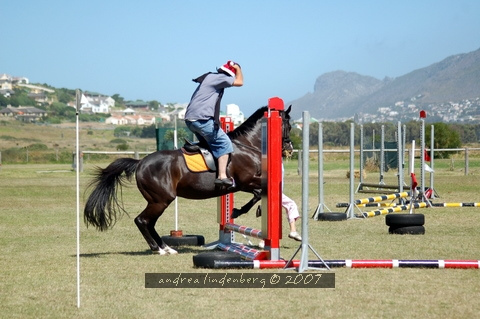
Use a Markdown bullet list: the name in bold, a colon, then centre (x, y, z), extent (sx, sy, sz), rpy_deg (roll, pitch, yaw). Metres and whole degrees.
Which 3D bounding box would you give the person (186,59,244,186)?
- **person**: centre (-0.573, -0.808, 15.516), extent (1.250, 2.706, 0.805), rpy_deg (-1, 7, -5)
